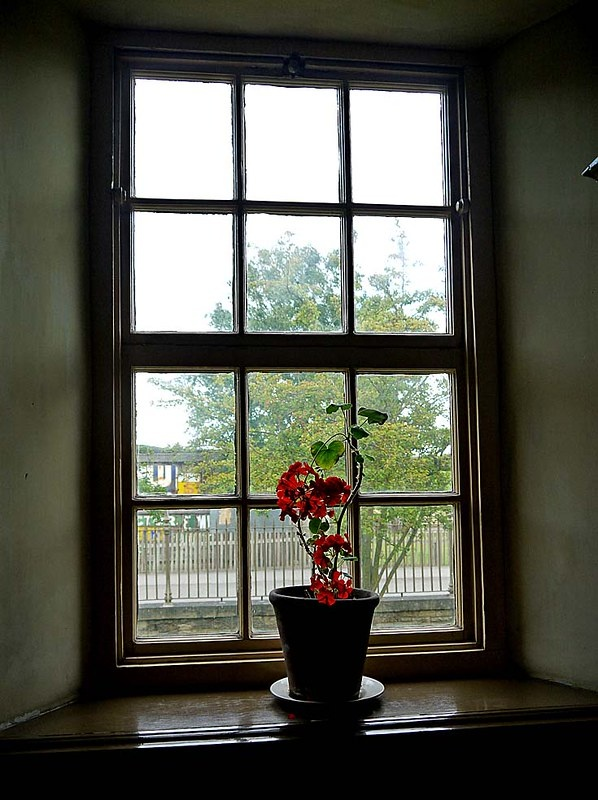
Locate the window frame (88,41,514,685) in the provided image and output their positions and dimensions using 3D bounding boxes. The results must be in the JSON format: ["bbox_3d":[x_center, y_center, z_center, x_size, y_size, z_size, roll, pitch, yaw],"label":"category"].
[{"bbox_3d":[0.001,-0.105,1.947,0.903,1.412,0.225,-1,2,-7],"label":"window frame"}]

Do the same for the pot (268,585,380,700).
[{"bbox_3d":[0.049,0.445,1.666,0.191,0.165,0.189,1,-12,0],"label":"pot"}]
